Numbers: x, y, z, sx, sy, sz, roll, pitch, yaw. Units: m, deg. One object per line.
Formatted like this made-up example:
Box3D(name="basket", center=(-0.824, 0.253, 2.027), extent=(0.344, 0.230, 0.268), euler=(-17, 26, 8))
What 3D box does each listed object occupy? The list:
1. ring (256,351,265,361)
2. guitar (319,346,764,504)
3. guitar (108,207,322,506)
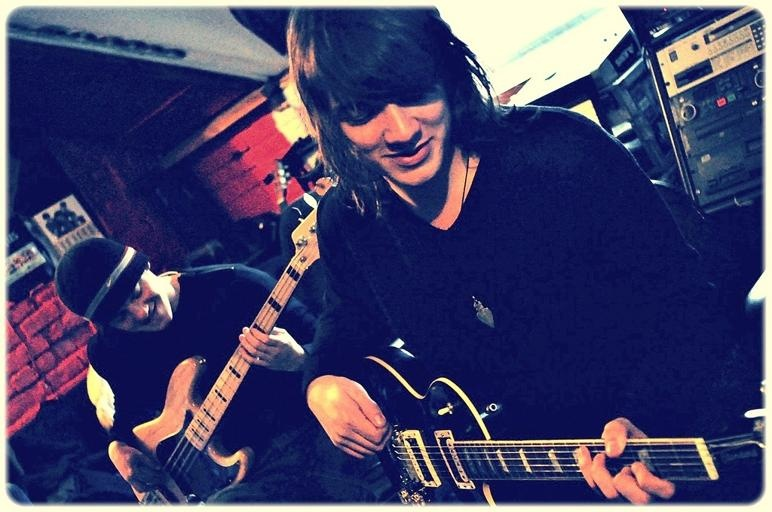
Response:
Box3D(name="ring", center=(-0.554, 0.443, 2.926), extent=(0.044, 0.041, 0.006), euler=(-21, 2, 18))
Box3D(name="guitar", center=(0.754, 0.731, 2.869), extent=(1.411, 0.624, 0.170), euler=(3, 16, 22))
Box3D(name="guitar", center=(-0.664, 0.557, 2.994), extent=(1.708, 0.557, 0.201), euler=(-55, -16, 11))
